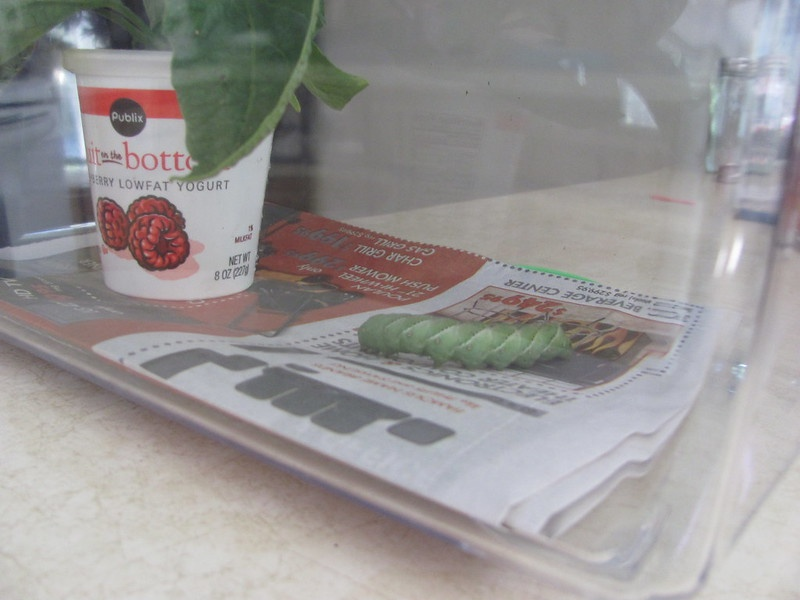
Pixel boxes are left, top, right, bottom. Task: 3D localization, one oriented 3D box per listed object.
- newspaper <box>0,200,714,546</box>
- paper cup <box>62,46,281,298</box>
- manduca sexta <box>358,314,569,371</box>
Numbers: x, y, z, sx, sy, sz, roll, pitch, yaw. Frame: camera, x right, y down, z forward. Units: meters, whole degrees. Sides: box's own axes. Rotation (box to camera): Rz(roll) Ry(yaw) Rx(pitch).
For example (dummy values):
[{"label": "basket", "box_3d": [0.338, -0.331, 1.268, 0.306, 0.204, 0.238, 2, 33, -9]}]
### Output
[{"label": "newspaper", "box_3d": [-0.048, 0.001, 0.405, 0.433, 0.057, 0.264, 10, 19, 28]}, {"label": "paper cup", "box_3d": [-0.140, -0.084, 0.456, 0.182, 0.117, 0.158, 1, 11, -15]}, {"label": "manduca sexta", "box_3d": [0.031, 0.021, 0.342, 0.125, 0.023, 0.025, 2, -2, 33]}]
